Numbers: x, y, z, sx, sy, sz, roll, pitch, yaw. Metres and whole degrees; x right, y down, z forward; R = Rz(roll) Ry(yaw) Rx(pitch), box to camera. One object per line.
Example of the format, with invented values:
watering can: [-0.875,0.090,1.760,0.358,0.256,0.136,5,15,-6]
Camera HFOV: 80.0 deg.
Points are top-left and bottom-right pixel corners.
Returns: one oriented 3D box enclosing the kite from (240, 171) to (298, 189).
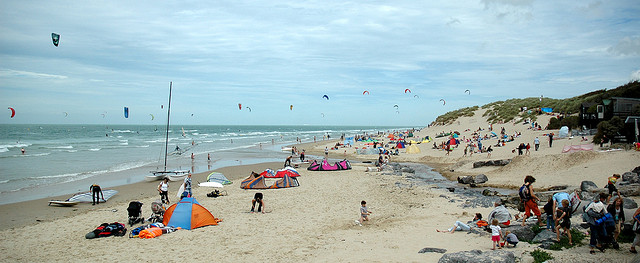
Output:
kite: [-6.777,6.747,51.350,7.072,1.637,1.125,-1,1,-3]

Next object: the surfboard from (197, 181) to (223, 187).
surfboard: [-14.648,7.080,50.520,2.632,0.722,1.785,-1,0,30]

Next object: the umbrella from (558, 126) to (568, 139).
umbrella: [38.881,0.110,61.011,1.160,1.888,2.084,-1,1,29]

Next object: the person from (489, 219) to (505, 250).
person: [18.258,10.564,39.419,1.124,3.078,0.849,-1,2,4]

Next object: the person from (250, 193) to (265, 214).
person: [-7.500,8.446,45.287,1.708,2.329,0.921,-1,1,-8]
